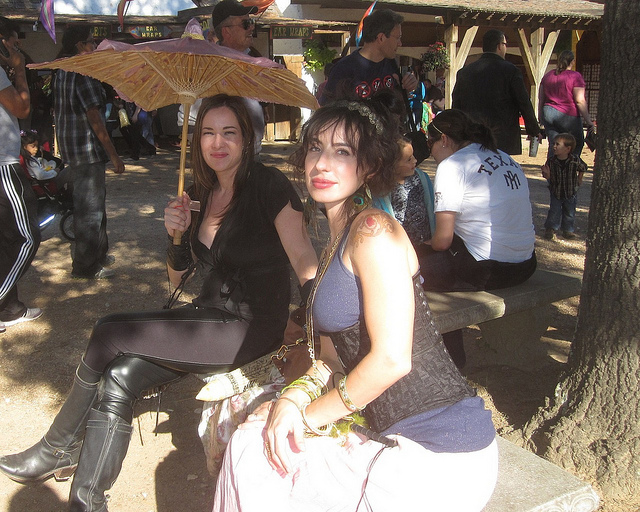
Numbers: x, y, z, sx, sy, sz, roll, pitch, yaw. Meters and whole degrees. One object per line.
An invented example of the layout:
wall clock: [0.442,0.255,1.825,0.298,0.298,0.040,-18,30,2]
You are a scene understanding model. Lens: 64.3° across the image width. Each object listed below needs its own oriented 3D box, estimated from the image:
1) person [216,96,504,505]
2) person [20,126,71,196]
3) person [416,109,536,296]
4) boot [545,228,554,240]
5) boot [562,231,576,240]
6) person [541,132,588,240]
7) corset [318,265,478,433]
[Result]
person: [0.203,0.163,1.693,0.908,1.275,0.842,9,20,18]
person: [-3.757,-1.295,6.990,0.649,0.925,0.598,-14,5,-21]
person: [1.023,-0.407,3.700,0.928,1.258,0.876,-7,9,-19]
boot: [3.050,-0.302,6.732,0.110,0.126,0.141,11,22,24]
boot: [3.288,-0.265,6.707,0.172,0.081,0.068,0,15,-1]
person: [3.218,-0.908,6.662,0.457,1.313,0.439,11,21,24]
corset: [0.226,0.296,1.959,0.716,0.587,0.426,8,25,-20]
